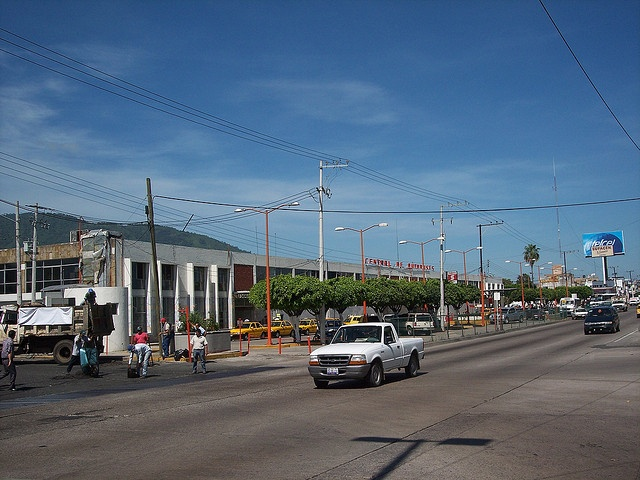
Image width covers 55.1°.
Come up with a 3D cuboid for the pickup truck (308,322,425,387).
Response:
[{"bbox_3d":[1.864,4.080,21.942,2.209,2.170,5.578,-8,-13,34],"label":"pickup truck"}]

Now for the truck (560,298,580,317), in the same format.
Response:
[{"bbox_3d":[38.560,10.421,95.036,1.818,2.455,5.237,-3,-5,25],"label":"truck"}]

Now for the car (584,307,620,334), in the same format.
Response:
[{"bbox_3d":[20.741,5.923,45.309,2.097,2.048,3.074,-6,-12,27],"label":"car"}]
